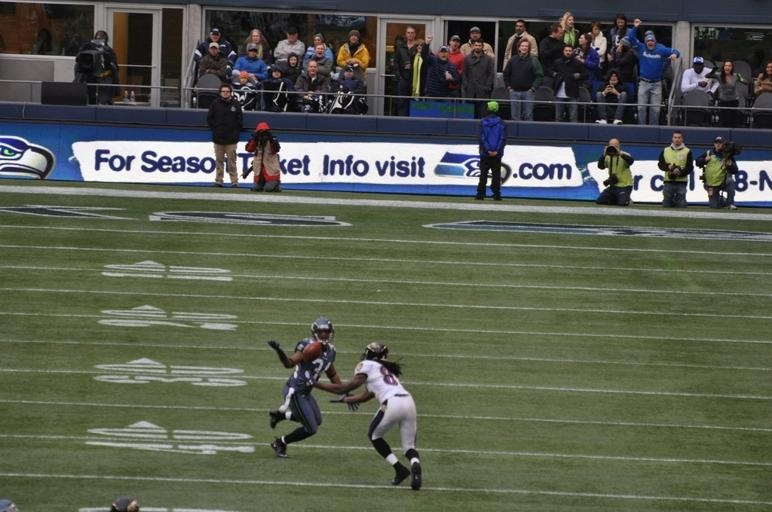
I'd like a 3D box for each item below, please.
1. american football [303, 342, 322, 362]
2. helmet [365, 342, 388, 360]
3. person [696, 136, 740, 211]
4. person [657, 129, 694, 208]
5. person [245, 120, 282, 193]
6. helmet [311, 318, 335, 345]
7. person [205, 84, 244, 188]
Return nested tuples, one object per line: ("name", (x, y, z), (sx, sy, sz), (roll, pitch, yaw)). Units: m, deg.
("american football", (-1.543, 1.879, 50.089), (0.312, 0.270, 0.363), (38, -21, 4))
("helmet", (-0.247, 1.851, 50.114), (0.343, 0.319, 0.377), (2, 5, 3))
("person", (8.193, -2.104, 63.031), (0.988, 1.794, 1.421), (2, 4, 7))
("person", (7.138, -2.025, 62.833), (0.935, 2.004, 0.747), (8, 13, 33))
("person", (-3.155, -2.486, 62.754), (0.822, 0.947, 1.875), (24, -23, 14))
("helmet", (-1.287, 1.412, 50.355), (0.437, 0.386, 0.531), (1, 13, -9))
("person", (-4.084, -3.029, 63.210), (0.846, 2.577, 1.119), (1, 4, -4))
